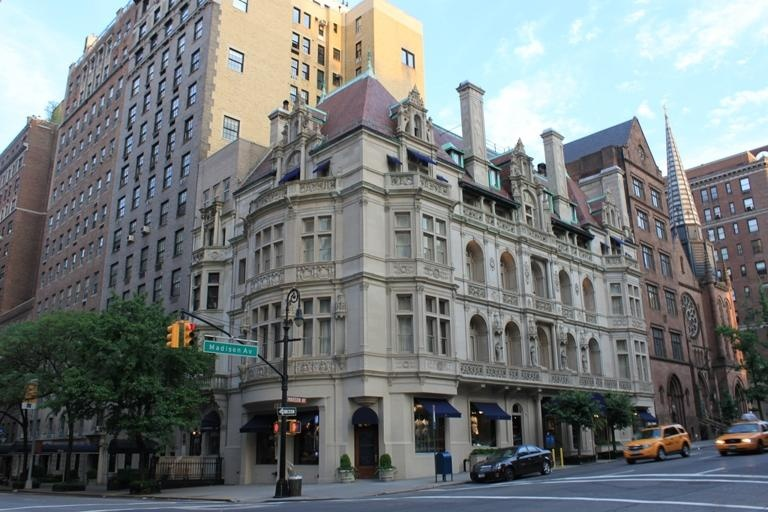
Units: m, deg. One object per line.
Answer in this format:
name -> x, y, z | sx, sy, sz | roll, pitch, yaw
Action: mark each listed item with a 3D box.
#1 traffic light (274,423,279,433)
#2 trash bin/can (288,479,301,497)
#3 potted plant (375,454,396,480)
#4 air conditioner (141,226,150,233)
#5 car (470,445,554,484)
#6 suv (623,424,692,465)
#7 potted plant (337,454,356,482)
traffic light -> -7.400, 11.966, 45.418 | 0.141, 0.579, 0.412 | 1, -2, 5
trash bin/can -> -5.913, 15.476, 43.842 | 0.834, 1.176, 0.638 | 6, -24, -19
potted plant -> 0.313, 16.520, 50.829 | 1.750, 1.908, 1.656 | 1, -22, -1
air conditioner -> -27.249, -3.091, 75.385 | 0.623, 0.811, 1.042 | 18, -30, -40
car -> 9.207, 14.800, 46.722 | 5.949, 2.507, 1.392 | 10, -26, -26
suv -> 21.592, 14.758, 51.665 | 5.562, 3.115, 1.984 | 11, -26, -28
potted plant -> -2.846, 16.314, 50.282 | 1.210, 2.121, 0.873 | -1, -23, -2
